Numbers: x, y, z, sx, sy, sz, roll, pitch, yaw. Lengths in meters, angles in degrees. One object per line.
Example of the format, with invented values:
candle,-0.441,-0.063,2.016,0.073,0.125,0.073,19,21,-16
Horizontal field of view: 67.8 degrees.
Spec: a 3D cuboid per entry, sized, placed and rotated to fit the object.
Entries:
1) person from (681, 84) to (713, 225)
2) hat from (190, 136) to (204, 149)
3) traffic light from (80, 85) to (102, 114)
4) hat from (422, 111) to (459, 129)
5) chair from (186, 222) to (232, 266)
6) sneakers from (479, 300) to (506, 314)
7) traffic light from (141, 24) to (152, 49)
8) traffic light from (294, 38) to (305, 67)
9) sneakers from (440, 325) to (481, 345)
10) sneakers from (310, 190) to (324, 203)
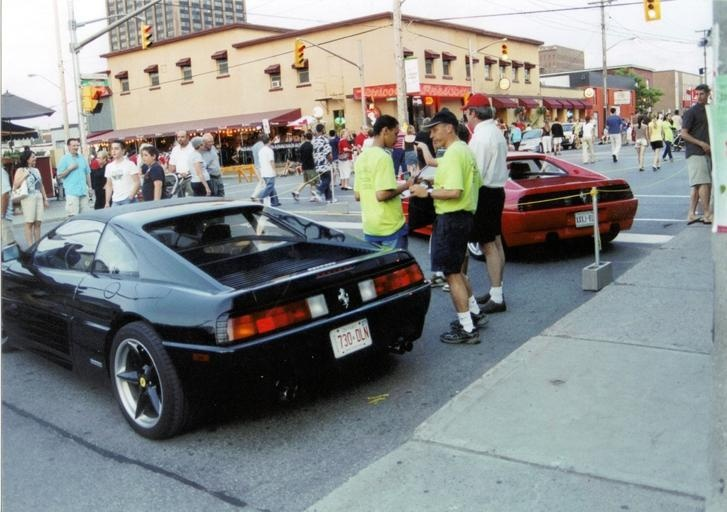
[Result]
person,5.514,-1.654,9.018,0.486,2.295,0.803,5,16,35
hat,-3.431,-2.375,11.316,0.225,0.223,0.226,-12,11,-25
traffic light,-11.536,-6.708,23.302,0.873,1.151,5.284,-11,15,-24
hat,0.768,-1.360,5.344,0.272,0.156,0.177,-1,18,5
chair,-1.341,-0.113,4.743,0.341,0.424,0.290,17,12,34
sneakers,1.463,0.588,6.179,0.389,0.167,0.146,-1,10,1
traffic light,-8.106,-8.386,20.462,0.359,0.970,1.782,-9,14,-19
traffic light,-2.851,-9.267,24.657,0.400,1.147,0.995,-6,13,-8
sneakers,0.950,0.796,5.351,0.402,0.202,0.163,3,4,11
sneakers,-1.430,-1.875,17.005,0.229,0.272,0.619,-8,7,-17
